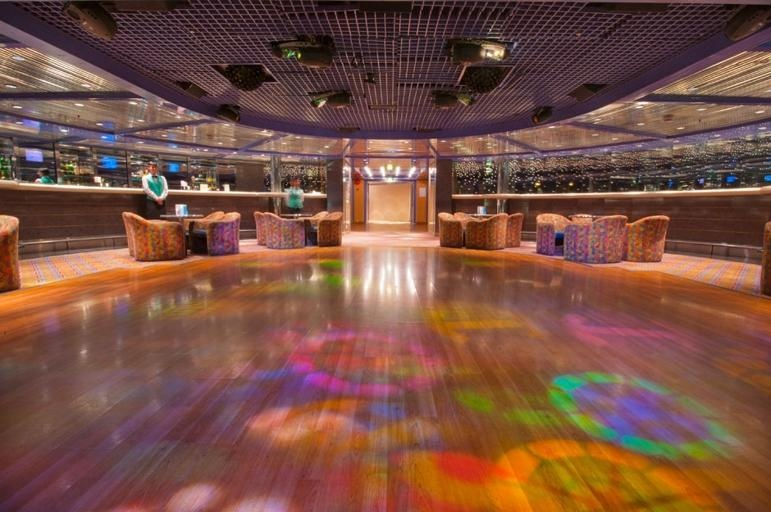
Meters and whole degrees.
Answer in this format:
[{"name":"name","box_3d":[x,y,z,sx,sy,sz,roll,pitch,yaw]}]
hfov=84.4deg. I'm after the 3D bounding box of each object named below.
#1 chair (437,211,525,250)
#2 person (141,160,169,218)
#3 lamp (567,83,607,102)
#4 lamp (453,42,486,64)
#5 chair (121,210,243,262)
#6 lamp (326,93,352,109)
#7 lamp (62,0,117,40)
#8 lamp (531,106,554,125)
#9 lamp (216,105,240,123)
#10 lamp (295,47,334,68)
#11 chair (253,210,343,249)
[{"name":"chair","box_3d":[2.332,-0.584,10.848,1.576,0.650,1.239,2,2,35]},{"name":"person","box_3d":[-5.419,-1.504,9.957,0.498,1.262,0.968,-5,13,-28]},{"name":"lamp","box_3d":[3.567,-2.823,7.393,0.555,0.200,0.411,2,10,4]},{"name":"lamp","box_3d":[1.144,-2.750,5.772,0.421,0.231,0.104,2,12,4]},{"name":"chair","box_3d":[-4.063,-0.398,8.528,1.014,0.929,1.927,8,12,30]},{"name":"lamp","box_3d":[-0.822,-2.839,7.754,0.446,0.171,0.270,9,13,39]},{"name":"lamp","box_3d":[-3.475,-2.791,5.038,0.240,0.331,0.524,8,12,31]},{"name":"lamp","box_3d":[3.308,-2.902,8.867,0.343,0.292,0.638,2,10,1]},{"name":"lamp","box_3d":[-3.119,-2.838,8.534,0.199,0.311,0.533,7,12,26]},{"name":"lamp","box_3d":[-0.977,-2.740,5.942,0.481,0.204,0.295,2,10,3]},{"name":"chair","box_3d":[-2.200,-0.636,10.962,2.089,0.891,1.089,-2,11,-17]}]
